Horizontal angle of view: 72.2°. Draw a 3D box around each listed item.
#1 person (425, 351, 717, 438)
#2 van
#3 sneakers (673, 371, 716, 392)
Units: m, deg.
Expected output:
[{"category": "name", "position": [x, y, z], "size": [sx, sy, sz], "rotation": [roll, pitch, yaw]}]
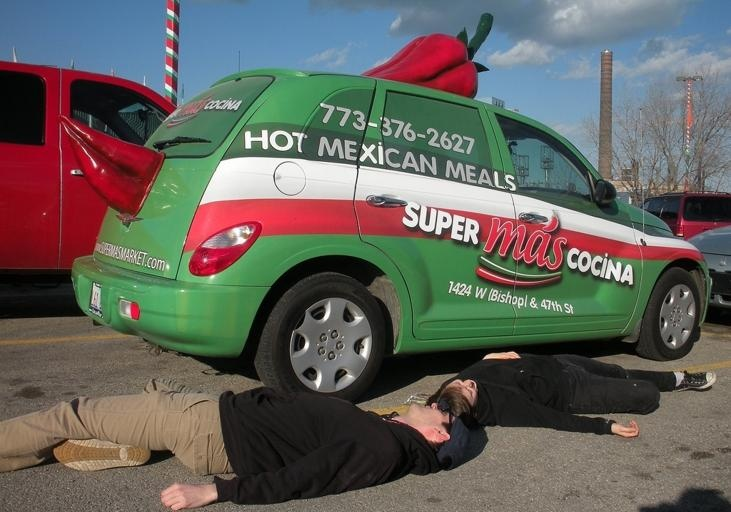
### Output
[{"category": "person", "position": [1.560, 1.069, 4.045], "size": [1.197, 0.273, 0.922], "rotation": [-1, 6, -16]}, {"category": "van", "position": [0.436, -0.174, 5.199], "size": [5.423, 2.142, 2.705], "rotation": [-1, 4, -28]}, {"category": "sneakers", "position": [3.035, 1.133, 4.632], "size": [0.486, 0.186, 0.195], "rotation": [-1, -9, -2]}]
